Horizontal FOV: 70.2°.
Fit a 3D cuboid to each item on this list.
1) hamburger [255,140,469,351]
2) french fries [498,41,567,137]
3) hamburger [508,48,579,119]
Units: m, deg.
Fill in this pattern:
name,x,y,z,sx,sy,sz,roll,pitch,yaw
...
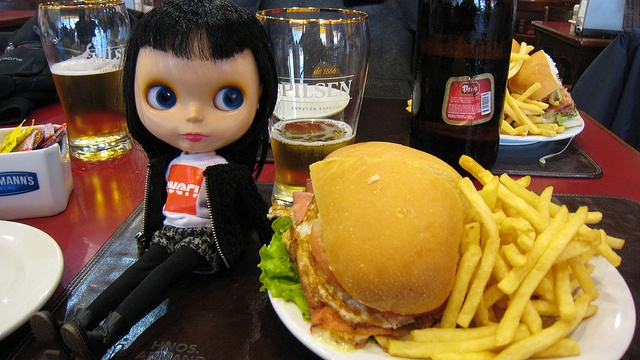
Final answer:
name,x,y,z,sx,sy,sz,roll,pitch,yaw
hamburger,0.156,0.231,1.567,0.615,0.660,0.361,2,-19,-10
french fries,1.033,-0.440,2.248,0.457,0.436,0.164,-1,2,5
hamburger,1.088,-0.462,2.291,0.209,0.435,0.299,1,3,11
